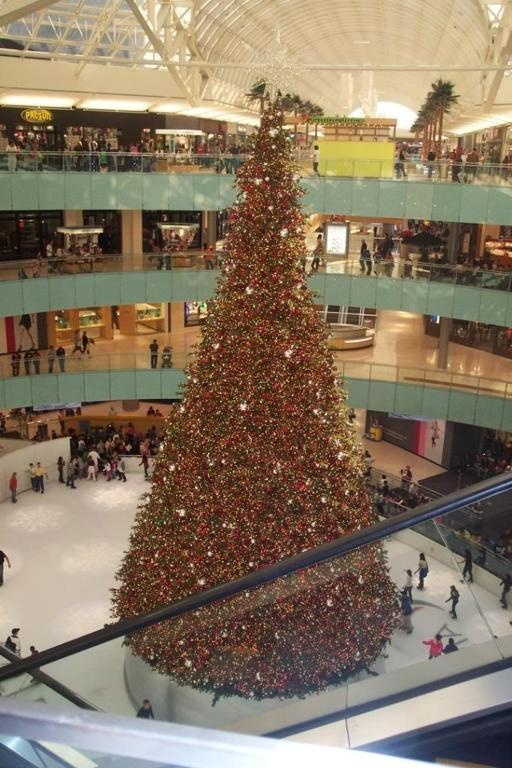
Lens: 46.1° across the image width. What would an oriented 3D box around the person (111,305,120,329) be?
[{"bbox_3d":[-8.194,-3.874,35.161,0.390,1.339,1.661,-3,12,-13],"label":"person"}]
